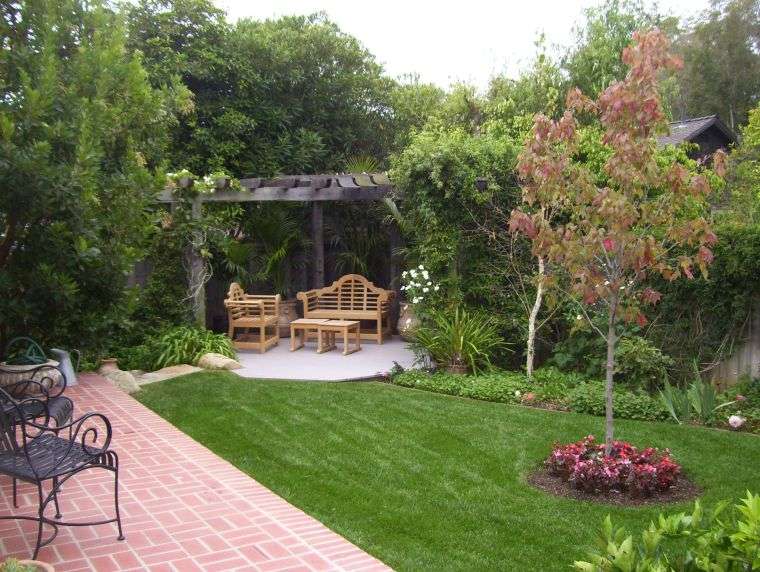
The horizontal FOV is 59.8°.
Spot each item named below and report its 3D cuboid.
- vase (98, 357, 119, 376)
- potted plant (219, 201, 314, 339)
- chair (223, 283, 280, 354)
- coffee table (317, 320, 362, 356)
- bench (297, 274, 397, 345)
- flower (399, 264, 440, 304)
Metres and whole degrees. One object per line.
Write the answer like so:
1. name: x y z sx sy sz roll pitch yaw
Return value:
1. vase: -4.009 1.207 9.795 0.280 0.294 0.294 4 -1 -10
2. potted plant: -2.192 -0.155 14.269 1.096 1.869 1.363 -11 7 -2
3. chair: -2.358 0.559 12.393 0.723 1.273 1.156 0 5 16
4. coffee table: -0.727 0.886 11.742 0.564 0.506 0.650 0 0 17
5. bench: -0.630 0.448 12.929 1.733 1.320 0.696 0 2 13
6. flower: 0.654 -0.011 11.090 0.460 0.692 0.867 6 -7 -22
